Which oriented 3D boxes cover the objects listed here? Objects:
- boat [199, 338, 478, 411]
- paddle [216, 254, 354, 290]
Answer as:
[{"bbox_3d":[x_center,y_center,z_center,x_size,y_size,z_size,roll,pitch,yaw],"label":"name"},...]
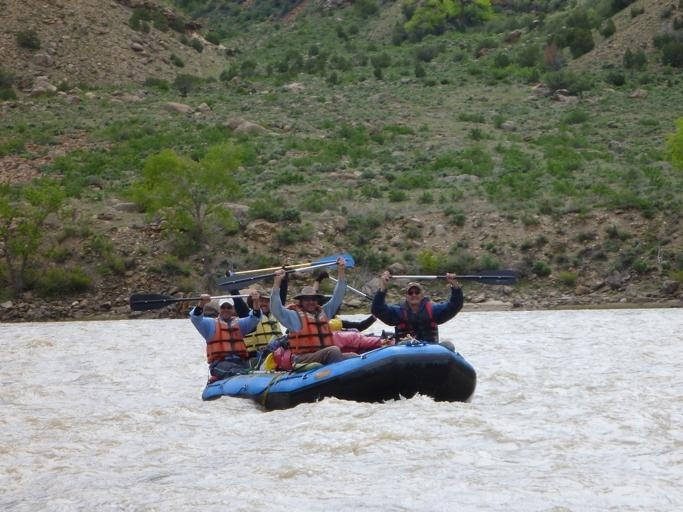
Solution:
[{"bbox_3d":[0.656,4.896,53.685,9.187,2.410,0.814,-2,10,1],"label":"boat"},{"bbox_3d":[-2.637,0.856,60.588,7.011,0.901,0.284,-10,-21,-1],"label":"paddle"}]
